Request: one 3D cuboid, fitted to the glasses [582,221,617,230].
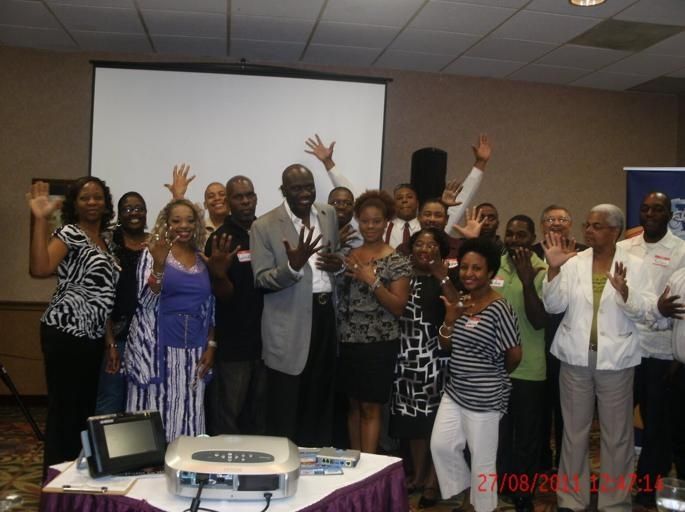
[{"bbox_3d":[1.747,-0.205,3.745,0.205,0.064,0.104,2,3,26],"label":"glasses"}]

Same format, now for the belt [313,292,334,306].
[{"bbox_3d":[-0.128,0.282,3.684,0.089,0.088,0.021,-5,-6,-22],"label":"belt"}]

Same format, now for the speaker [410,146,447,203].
[{"bbox_3d":[0.891,-0.845,5.814,0.237,0.587,0.563,-1,5,-7],"label":"speaker"}]

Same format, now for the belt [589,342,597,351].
[{"bbox_3d":[1.664,0.598,3.663,0.046,0.033,0.051,-1,1,-25],"label":"belt"}]

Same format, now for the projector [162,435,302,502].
[{"bbox_3d":[-0.470,0.907,2.363,0.564,0.206,0.244,1,3,-3],"label":"projector"}]
